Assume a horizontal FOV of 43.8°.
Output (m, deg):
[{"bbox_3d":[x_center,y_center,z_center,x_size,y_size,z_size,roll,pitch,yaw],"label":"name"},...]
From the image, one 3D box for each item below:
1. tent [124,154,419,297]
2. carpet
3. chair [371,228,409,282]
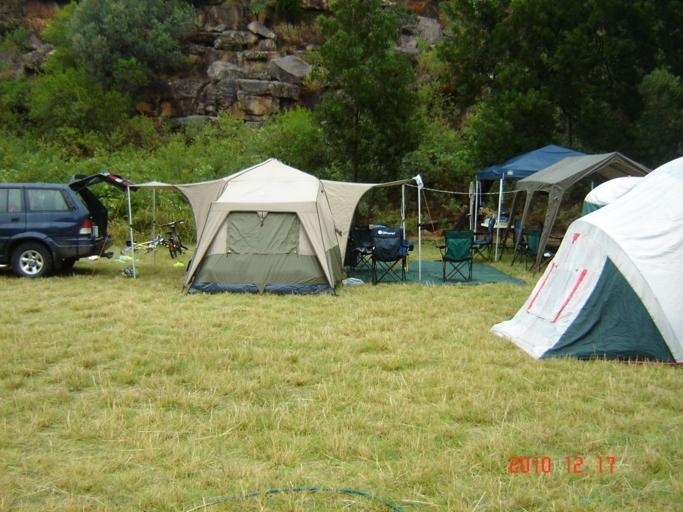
[{"bbox_3d":[-1.621,-0.680,18.659,3.542,2.749,1.936,0,9,-3],"label":"tent"},{"bbox_3d":[2.114,0.398,20.330,2.269,0.065,1.799,5,8,2],"label":"carpet"},{"bbox_3d":[1.136,-0.163,19.748,1.239,1.666,1.054,1,4,6],"label":"chair"}]
